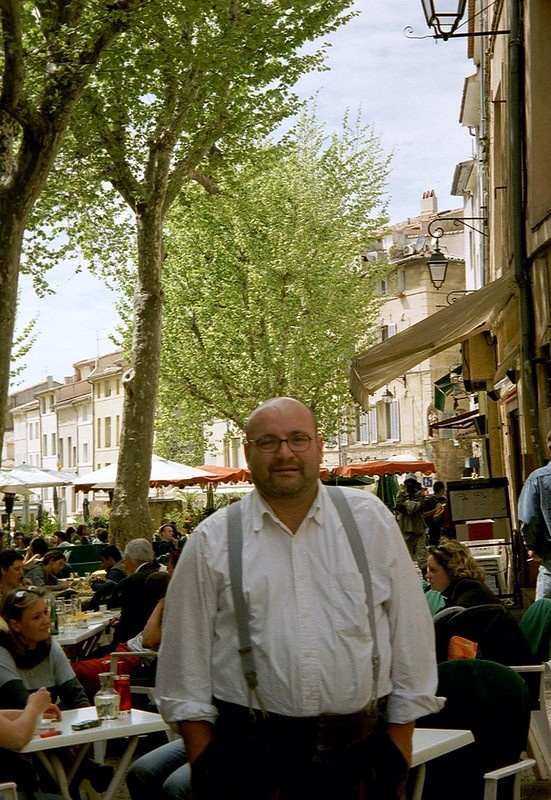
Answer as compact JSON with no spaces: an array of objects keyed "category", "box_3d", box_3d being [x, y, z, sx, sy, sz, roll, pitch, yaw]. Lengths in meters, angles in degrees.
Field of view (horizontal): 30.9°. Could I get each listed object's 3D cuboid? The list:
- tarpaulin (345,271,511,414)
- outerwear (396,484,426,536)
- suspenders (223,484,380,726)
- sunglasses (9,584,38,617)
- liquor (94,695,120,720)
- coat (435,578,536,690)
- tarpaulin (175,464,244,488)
[{"category":"tarpaulin","box_3d":[1.590,-0.617,10.441,1.750,1.422,1.006,1,-10,-24]},{"category":"outerwear","box_3d":[2.233,1.838,16.595,0.527,0.854,0.343,-3,-4,-1]},{"category":"suspenders","box_3d":[0.072,0.547,2.690,0.384,0.618,0.206,-3,-10,-2]},{"category":"sunglasses","box_3d":[-1.287,1.025,5.064,0.037,0.120,0.131,45,27,19]},{"category":"liquor","box_3d":[-0.763,1.450,4.649,0.124,0.103,0.115,-1,-20,-1]},{"category":"coat","box_3d":[1.071,1.169,5.295,0.429,0.265,0.424,5,-46,26]},{"category":"tarpaulin","box_3d":[-1.445,1.810,23.451,1.084,0.257,1.046,-5,-3,20]}]
